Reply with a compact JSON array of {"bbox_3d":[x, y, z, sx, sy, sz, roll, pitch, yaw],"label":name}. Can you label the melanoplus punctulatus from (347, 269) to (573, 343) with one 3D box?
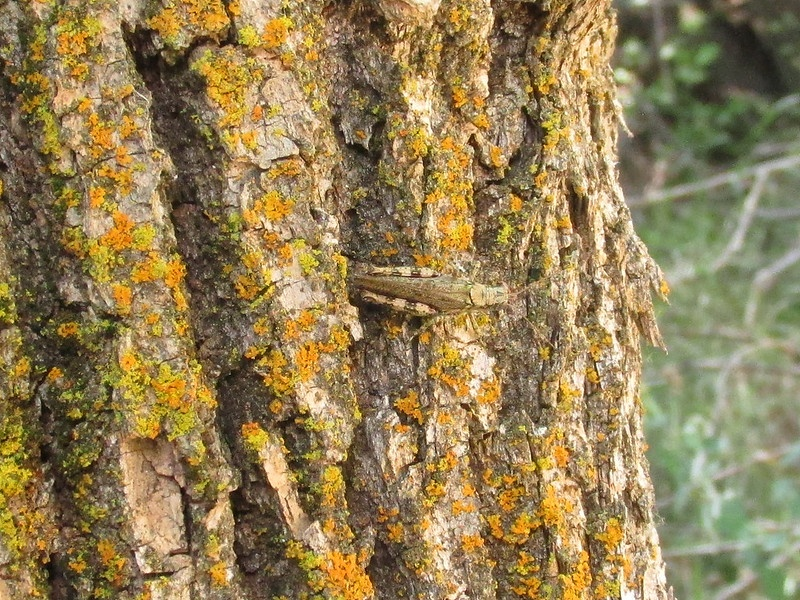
[{"bbox_3d":[0.300,0.003,15.076,1.415,0.595,0.440,5,7,-3],"label":"melanoplus punctulatus"}]
